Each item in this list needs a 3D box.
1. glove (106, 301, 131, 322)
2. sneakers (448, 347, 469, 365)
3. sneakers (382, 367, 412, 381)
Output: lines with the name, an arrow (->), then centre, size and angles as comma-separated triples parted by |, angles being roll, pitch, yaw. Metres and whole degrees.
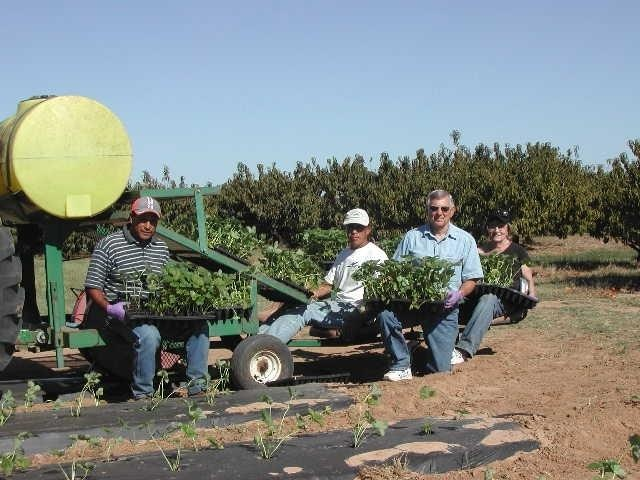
glove -> -2.150, 0.772, 6.123 | 0.212, 0.171, 0.097 | 4, 26, 38
sneakers -> 1.787, 1.513, 7.401 | 0.129, 0.153, 0.352 | -3, -18, 18
sneakers -> 0.927, 1.605, 6.823 | 0.341, 0.172, 0.136 | 1, 0, -11
